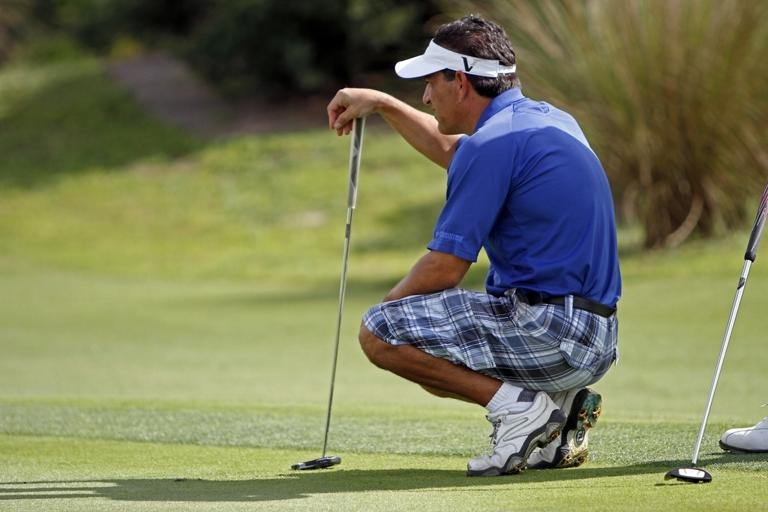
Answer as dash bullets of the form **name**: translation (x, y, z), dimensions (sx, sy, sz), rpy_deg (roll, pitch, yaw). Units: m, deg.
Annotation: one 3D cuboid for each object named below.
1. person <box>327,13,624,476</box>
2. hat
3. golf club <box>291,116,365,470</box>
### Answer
- **person**: translation (0.540, -0.061, 6.242), dimensions (1.125, 2.076, 0.679), rpy_deg (0, 12, 8)
- **hat**: translation (0.343, -0.921, 6.373), dimensions (0.413, 0.097, 0.245), rpy_deg (3, 3, 9)
- **golf club**: translation (-0.239, 0.386, 6.530), dimensions (0.146, 1.339, 0.351), rpy_deg (18, -25, -35)
